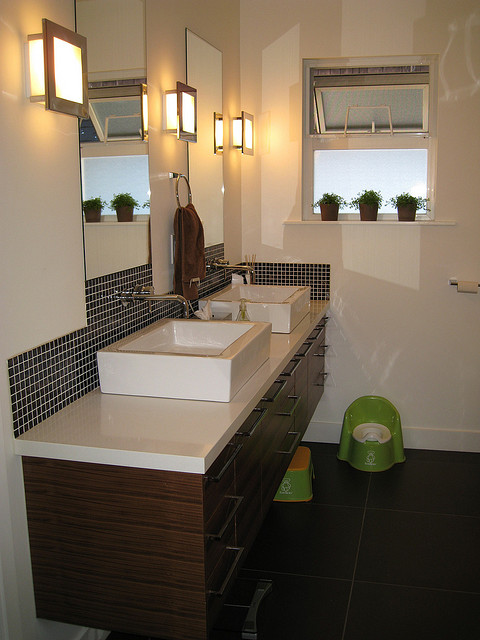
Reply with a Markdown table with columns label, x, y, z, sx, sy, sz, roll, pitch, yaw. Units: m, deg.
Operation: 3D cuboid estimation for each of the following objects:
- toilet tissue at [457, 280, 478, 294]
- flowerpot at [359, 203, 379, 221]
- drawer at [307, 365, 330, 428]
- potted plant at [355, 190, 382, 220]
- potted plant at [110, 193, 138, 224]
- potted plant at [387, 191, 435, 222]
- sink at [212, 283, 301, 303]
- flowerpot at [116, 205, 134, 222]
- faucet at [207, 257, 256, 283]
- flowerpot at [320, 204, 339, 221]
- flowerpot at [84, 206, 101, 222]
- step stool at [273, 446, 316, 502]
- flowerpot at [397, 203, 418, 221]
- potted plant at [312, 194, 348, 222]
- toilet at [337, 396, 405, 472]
| label | x | y | z | sx | sy | sz | roll | pitch | yaw |
| --- | --- | --- | --- | --- | --- | --- | --- | --- | --- |
| toilet tissue | 1.461 | -0.214 | 3.010 | 0.117 | 0.074 | 0.061 | 2 | 6 | 31 |
| flowerpot | 0.877 | -0.736 | 3.162 | 0.092 | 0.105 | 0.113 | 2 | 14 | 4 |
| drawer | 0.468 | 0.459 | 2.894 | 0.055 | 0.291 | 0.268 | 5 | 4 | 14 |
| potted plant | 0.886 | -0.784 | 3.234 | 0.179 | 0.196 | 0.193 | 0 | 5 | 16 |
| potted plant | -0.412 | -0.390 | 1.667 | 0.077 | 0.101 | 0.077 | 1 | 3 | 25 |
| potted plant | 1.145 | -0.735 | 3.103 | 0.203 | 0.193 | 0.172 | 2 | 8 | 7 |
| sink | 0.116 | -0.156 | 2.758 | 0.467 | 0.103 | 0.345 | -2 | 6 | -3 |
| flowerpot | -0.412 | -0.375 | 1.677 | 0.046 | 0.043 | 0.048 | -3 | 6 | -39 |
| faucet | -0.034 | -0.314 | 3.021 | 0.218 | 0.169 | 0.756 | -1 | 6 | 7 |
| flowerpot | 0.614 | -0.740 | 3.233 | 0.096 | 0.098 | 0.105 | 3 | 7 | 24 |
| flowerpot | -0.451 | -0.322 | 1.441 | 0.034 | 0.036 | 0.040 | 2 | 5 | 26 |
| step stool | 0.331 | 0.861 | 2.743 | 0.249 | 0.247 | 0.280 | 3 | 15 | 14 |
| flowerpot | 1.103 | -0.713 | 3.105 | 0.110 | 0.111 | 0.104 | 6 | 26 | 11 |
| potted plant | 0.632 | -0.781 | 3.282 | 0.235 | 0.182 | 0.133 | 0 | 5 | 11 |
| toilet | 0.903 | 0.760 | 3.156 | 0.381 | 0.464 | 0.414 | -1 | 2 | -3 |
